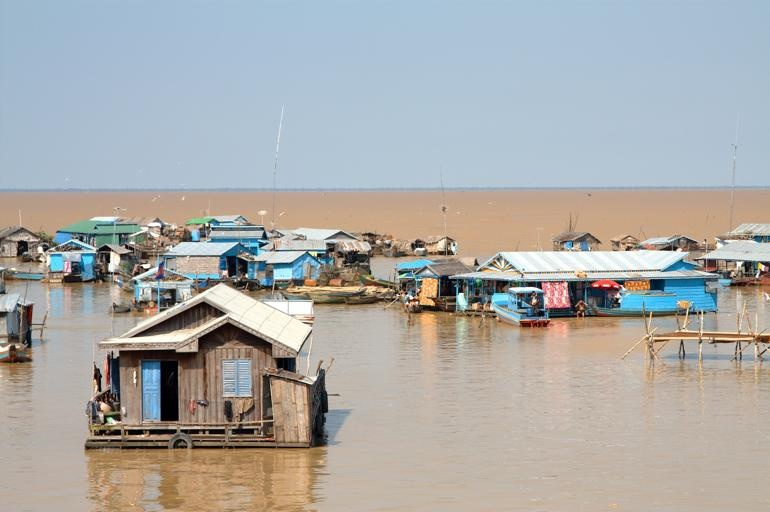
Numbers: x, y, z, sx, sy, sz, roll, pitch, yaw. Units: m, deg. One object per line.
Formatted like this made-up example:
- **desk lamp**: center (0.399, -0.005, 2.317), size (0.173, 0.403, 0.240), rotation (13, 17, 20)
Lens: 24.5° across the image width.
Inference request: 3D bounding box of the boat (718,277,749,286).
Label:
- **boat**: center (21.125, 1.560, 108.009), size (1.663, 0.625, 0.773), rotation (-2, -3, 8)

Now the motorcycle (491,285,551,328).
- **motorcycle**: center (6.913, 2.530, 91.579), size (1.706, 0.988, 3.190), rotation (-1, 5, -16)

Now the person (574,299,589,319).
- **person**: center (10.275, 2.787, 93.201), size (0.503, 0.874, 0.768), rotation (-3, -3, 15)

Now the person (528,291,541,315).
- **person**: center (7.690, 2.434, 91.035), size (0.562, 1.204, 0.915), rotation (-2, -3, 4)

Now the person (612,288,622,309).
- **person**: center (12.203, 2.229, 93.607), size (0.402, 1.000, 0.739), rotation (-1, -3, -13)

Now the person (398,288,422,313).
- **person**: center (1.402, 2.461, 96.922), size (1.247, 0.787, 3.032), rotation (1, 6, 0)

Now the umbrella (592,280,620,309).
- **umbrella**: center (11.743, 1.974, 93.952), size (1.794, 1.370, 1.565), rotation (1, -3, 1)
